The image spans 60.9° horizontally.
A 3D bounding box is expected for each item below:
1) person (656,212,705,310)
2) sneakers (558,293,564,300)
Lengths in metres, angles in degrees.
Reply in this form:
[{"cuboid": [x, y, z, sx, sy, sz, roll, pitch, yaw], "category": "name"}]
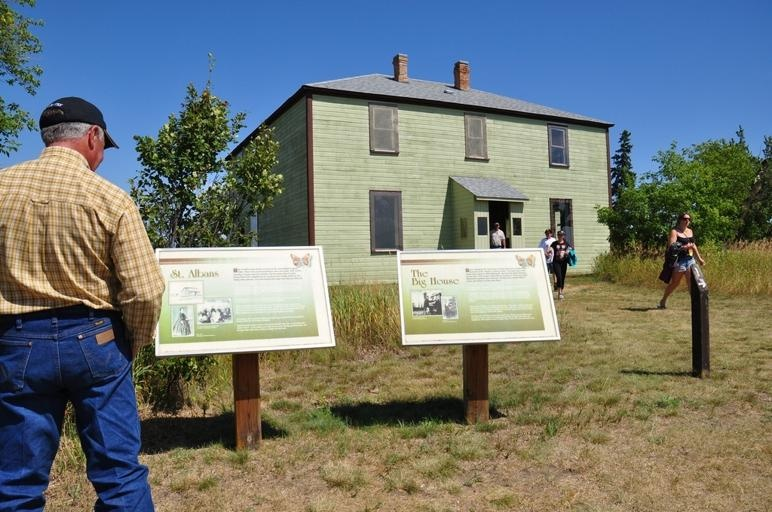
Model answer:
[{"cuboid": [6.202, 0.095, 13.877, 0.775, 2.154, 1.525, 2, 9, 25], "category": "person"}, {"cuboid": [4.357, 0.987, 16.219, 0.111, 0.172, 0.171, 1, -11, -15], "category": "sneakers"}]
